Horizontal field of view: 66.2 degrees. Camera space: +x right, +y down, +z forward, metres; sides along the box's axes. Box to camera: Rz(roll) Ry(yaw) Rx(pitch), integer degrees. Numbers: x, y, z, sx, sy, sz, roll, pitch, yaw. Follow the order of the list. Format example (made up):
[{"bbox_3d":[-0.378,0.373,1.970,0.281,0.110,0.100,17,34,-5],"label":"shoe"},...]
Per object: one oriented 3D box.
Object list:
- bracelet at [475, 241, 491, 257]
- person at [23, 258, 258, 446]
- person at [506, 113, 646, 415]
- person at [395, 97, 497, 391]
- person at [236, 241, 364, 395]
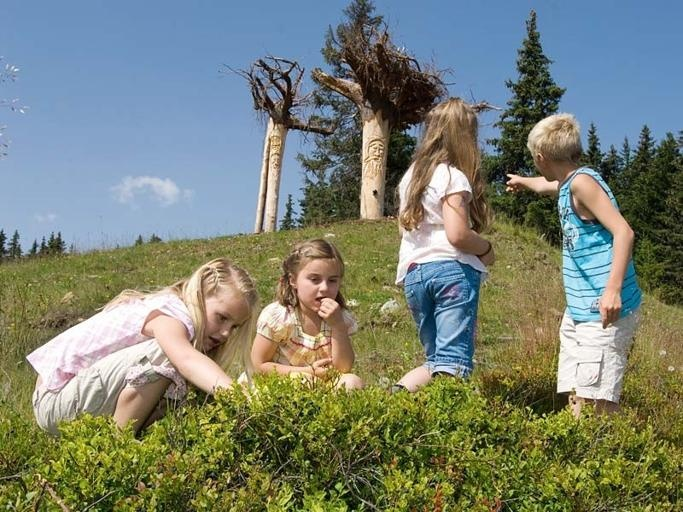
[{"bbox_3d":[1.042,-0.037,3.795,0.028,0.111,0.113,16,20,-21],"label":"bracelet"},{"bbox_3d":[-1.188,0.540,3.263,1.334,0.939,0.723,-2,6,12],"label":"person"},{"bbox_3d":[1.727,0.031,3.722,0.634,2.155,1.232,-2,5,12],"label":"person"},{"bbox_3d":[0.722,-0.162,3.816,0.699,2.034,0.936,-1,6,22],"label":"person"},{"bbox_3d":[-0.254,0.392,3.949,0.845,1.498,0.928,1,-1,-22],"label":"person"}]
